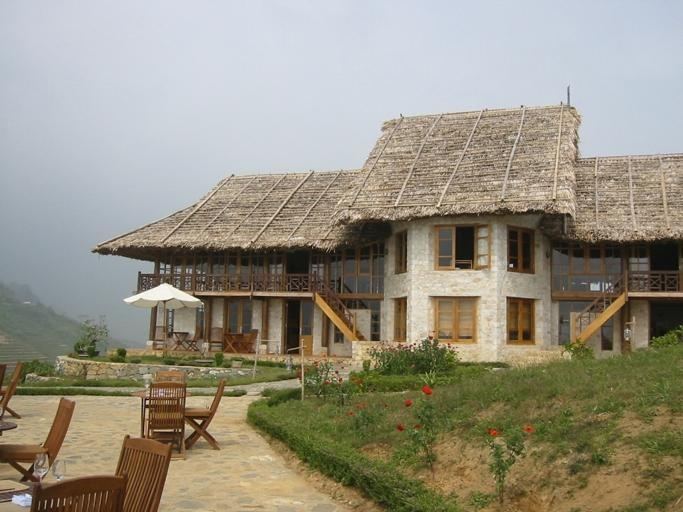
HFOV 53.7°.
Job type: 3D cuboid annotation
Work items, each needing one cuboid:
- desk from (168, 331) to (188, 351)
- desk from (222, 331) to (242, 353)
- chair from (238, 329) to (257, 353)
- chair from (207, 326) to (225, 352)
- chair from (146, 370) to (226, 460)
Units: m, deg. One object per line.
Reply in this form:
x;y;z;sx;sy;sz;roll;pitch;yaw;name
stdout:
-8.684;4.486;35.453;1.025;0.857;0.968;0;2;-6;desk
-5.653;4.386;34.083;1.001;0.864;0.977;-1;-5;20;desk
-4.678;4.264;34.028;0.839;1.250;1.572;4;-11;-7;chair
-6.593;4.277;34.864;0.757;1.270;0.477;5;-11;-9;chair
-3.598;3.251;14.351;1.644;1.748;1.962;1;1;-18;chair
